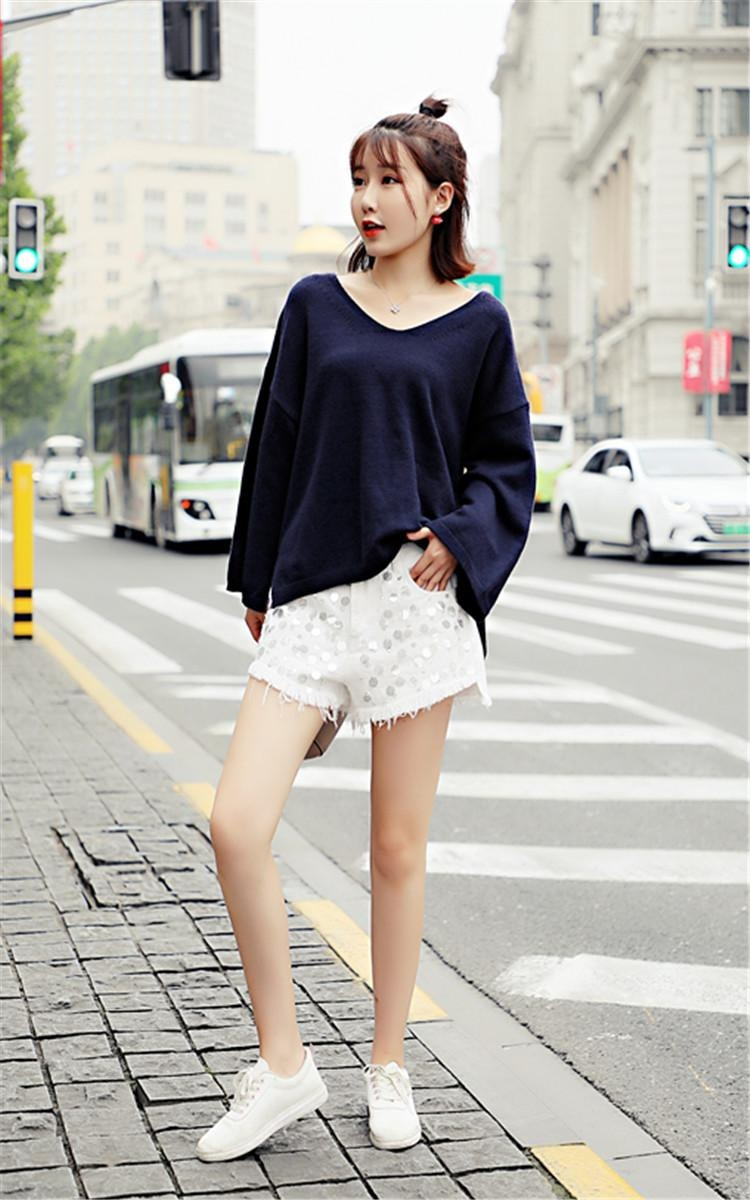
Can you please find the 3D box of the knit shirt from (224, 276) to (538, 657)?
[{"bbox_3d":[0.029,-0.237,2.366,0.500,0.606,0.259,2,3,1],"label":"knit shirt"}]

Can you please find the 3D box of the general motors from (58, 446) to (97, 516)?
[{"bbox_3d":[-4.791,-1.824,22.757,0.566,0.457,1.258,-1,12,-8],"label":"general motors"}]

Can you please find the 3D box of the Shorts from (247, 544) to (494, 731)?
[{"bbox_3d":[-0.014,0.053,2.326,0.256,0.227,0.140,23,-3,-6],"label":"Shorts"}]

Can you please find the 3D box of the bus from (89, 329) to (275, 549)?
[{"bbox_3d":[-2.723,-2.226,20.264,2.070,2.463,5.596,-2,6,-22],"label":"bus"}]

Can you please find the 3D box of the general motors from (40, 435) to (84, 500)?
[{"bbox_3d":[-5.142,-2.193,23.085,0.686,0.627,1.164,0,16,-6],"label":"general motors"}]

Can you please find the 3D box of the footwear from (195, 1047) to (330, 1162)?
[{"bbox_3d":[-0.179,0.825,2.349,0.086,0.117,0.265,6,21,45],"label":"footwear"}]

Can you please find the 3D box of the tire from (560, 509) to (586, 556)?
[{"bbox_3d":[2.334,-0.804,16.350,0.186,0.506,0.507,-3,4,-11],"label":"tire"}]
